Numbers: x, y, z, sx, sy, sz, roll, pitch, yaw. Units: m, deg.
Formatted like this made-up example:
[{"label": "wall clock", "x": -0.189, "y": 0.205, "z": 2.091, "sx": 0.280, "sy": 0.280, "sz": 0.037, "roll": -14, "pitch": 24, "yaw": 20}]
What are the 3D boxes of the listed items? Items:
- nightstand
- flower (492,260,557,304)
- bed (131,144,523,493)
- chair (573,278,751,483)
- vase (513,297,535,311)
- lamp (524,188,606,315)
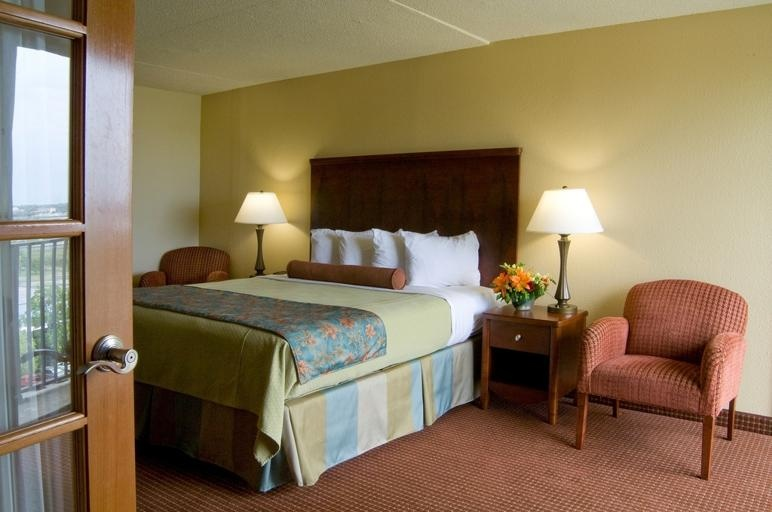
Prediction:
[{"label": "nightstand", "x": 1.115, "y": 0.738, "z": 4.447, "sx": 0.735, "sy": 0.743, "sz": 0.742, "roll": -10, "pitch": 15, "yaw": -36}, {"label": "flower", "x": 1.020, "y": 0.232, "z": 4.425, "sx": 0.370, "sy": 0.270, "sz": 0.376, "roll": 1, "pitch": -1, "yaw": -2}, {"label": "bed", "x": -0.584, "y": 0.140, "z": 4.474, "sx": 2.200, "sy": 1.973, "sz": 2.827, "roll": 8, "pitch": 11, "yaw": 38}, {"label": "chair", "x": 1.736, "y": 0.748, "z": 4.102, "sx": 1.136, "sy": 1.493, "sz": 1.211, "roll": 1, "pitch": -2, "yaw": 37}, {"label": "vase", "x": 1.057, "y": 0.366, "z": 4.329, "sx": 0.107, "sy": 0.082, "sz": 0.111, "roll": 1, "pitch": -3, "yaw": -41}, {"label": "lamp", "x": 1.385, "y": -0.034, "z": 4.319, "sx": 0.531, "sy": 0.933, "sz": 0.437, "roll": -5, "pitch": 11, "yaw": -28}]
